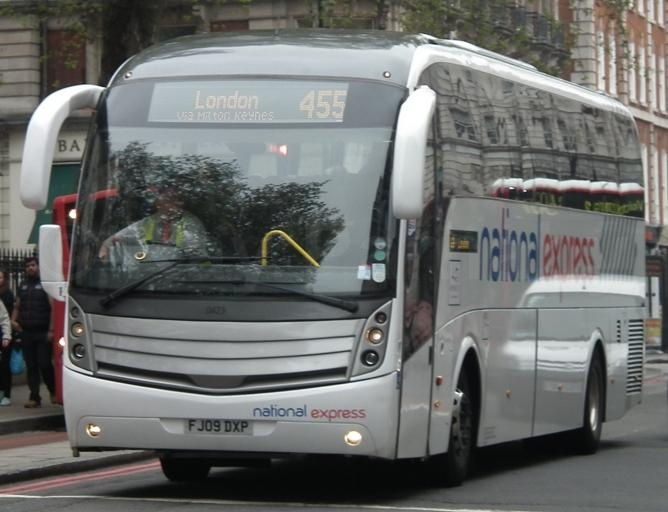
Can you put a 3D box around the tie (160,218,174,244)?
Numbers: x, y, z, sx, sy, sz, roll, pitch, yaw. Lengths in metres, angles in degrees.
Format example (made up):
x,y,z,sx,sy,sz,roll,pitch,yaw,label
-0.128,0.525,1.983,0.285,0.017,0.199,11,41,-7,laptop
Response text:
x,y,z,sx,sy,sz,roll,pitch,yaw,label
-1.385,-0.205,9.139,0.103,0.194,0.046,2,-12,18,tie

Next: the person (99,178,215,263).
x,y,z,sx,sy,sz,roll,pitch,yaw,label
-1.425,-0.282,9.178,0.742,0.608,0.392,2,-9,1,person
